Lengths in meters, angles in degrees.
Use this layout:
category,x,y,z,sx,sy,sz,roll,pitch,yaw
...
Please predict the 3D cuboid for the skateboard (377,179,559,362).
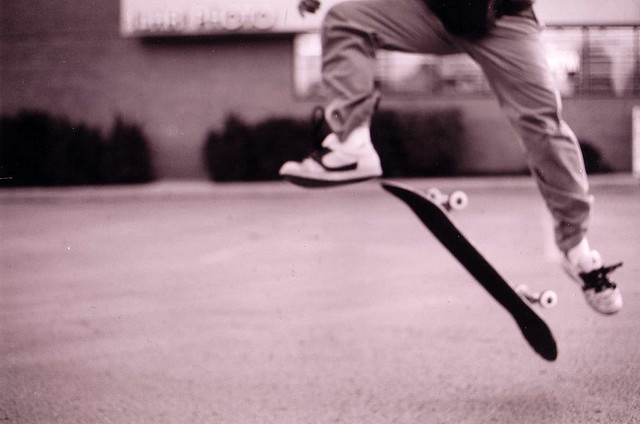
category,x,y,z,sx,sy,sz,roll,pitch,yaw
skateboard,0.714,0.269,3.468,0.133,0.874,0.229,-37,-6,-36
